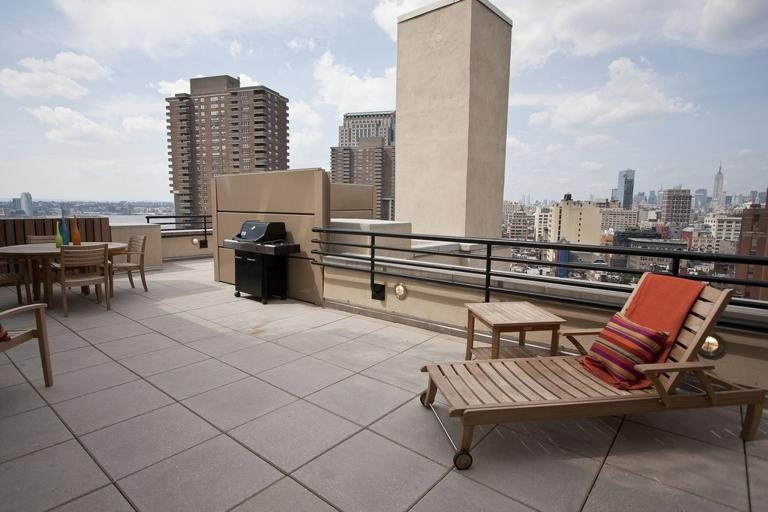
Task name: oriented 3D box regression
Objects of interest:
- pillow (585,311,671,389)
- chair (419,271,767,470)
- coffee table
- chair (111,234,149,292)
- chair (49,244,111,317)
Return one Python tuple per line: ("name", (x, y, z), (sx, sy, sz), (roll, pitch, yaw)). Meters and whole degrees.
("pillow", (2.214, 0.885, 4.341), (0.408, 0.558, 0.625), (1, 10, -20))
("chair", (1.847, 1.026, 4.602), (3.103, 1.586, 1.542), (-3, 13, -8))
("coffee table", (1.312, 0.738, 4.796), (0.739, 0.673, 0.723), (-3, 8, -15))
("chair", (-4.497, 0.125, 8.049), (0.746, 0.913, 0.724), (4, 6, 43))
("chair", (-4.693, 0.302, 7.055), (0.780, 1.098, 0.772), (14, 14, 41))
